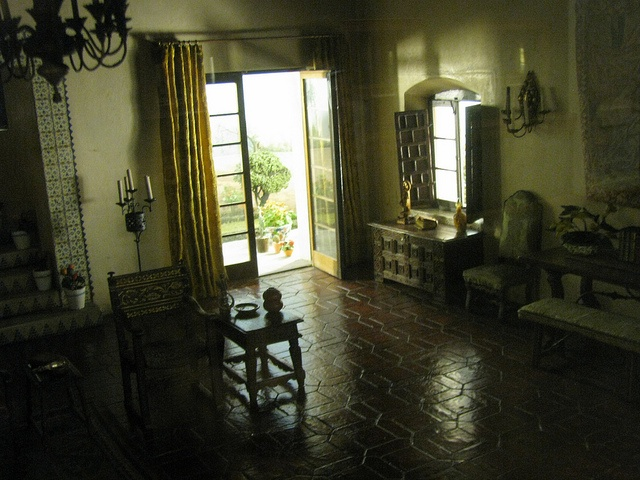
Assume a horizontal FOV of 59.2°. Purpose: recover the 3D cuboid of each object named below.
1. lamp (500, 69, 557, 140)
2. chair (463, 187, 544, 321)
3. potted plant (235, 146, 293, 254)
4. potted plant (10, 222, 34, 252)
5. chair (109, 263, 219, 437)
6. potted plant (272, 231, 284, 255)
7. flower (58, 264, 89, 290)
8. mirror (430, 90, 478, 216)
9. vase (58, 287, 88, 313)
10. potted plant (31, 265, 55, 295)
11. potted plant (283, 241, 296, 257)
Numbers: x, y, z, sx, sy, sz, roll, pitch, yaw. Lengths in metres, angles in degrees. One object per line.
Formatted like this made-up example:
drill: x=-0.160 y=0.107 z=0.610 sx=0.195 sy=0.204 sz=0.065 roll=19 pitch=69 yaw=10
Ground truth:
lamp: x=2.022 y=-1.380 z=5.716 sx=0.260 sy=0.669 sz=0.562 roll=-12 pitch=13 yaw=-36
chair: x=1.947 y=0.131 z=5.945 sx=0.737 sy=1.271 sz=0.526 roll=-8 pitch=11 yaw=-16
potted plant: x=-0.836 y=-0.890 z=9.735 sx=0.913 sy=1.214 sz=1.084 roll=-10 pitch=31 yaw=-28
potted plant: x=-3.672 y=-0.048 z=6.941 sx=0.206 sy=0.312 sz=0.298 roll=-10 pitch=12 yaw=-27
chair: x=-1.283 y=0.888 z=4.716 sx=0.697 sy=1.233 sz=0.661 roll=-9 pitch=9 yaw=-31
potted plant: x=-0.659 y=0.022 z=8.796 sx=0.275 sy=0.418 sz=0.276 roll=1 pitch=-4 yaw=0
flower: x=-2.814 y=0.429 z=6.423 sx=0.270 sy=0.281 sz=0.238 roll=-9 pitch=12 yaw=-23
mirror: x=1.617 y=-1.137 z=7.013 sx=0.155 sy=1.437 sz=0.732 roll=-8 pitch=11 yaw=-20
vase: x=-2.814 y=0.667 z=6.487 sx=0.249 sy=0.224 sz=0.271 roll=6 pitch=12 yaw=22
potted plant: x=-3.183 y=0.459 z=6.588 sx=0.252 sy=0.275 sz=0.248 roll=-13 pitch=22 yaw=-40
potted plant: x=-0.484 y=0.121 z=8.593 sx=0.207 sy=0.225 sz=0.221 roll=-1 pitch=-1 yaw=-11
